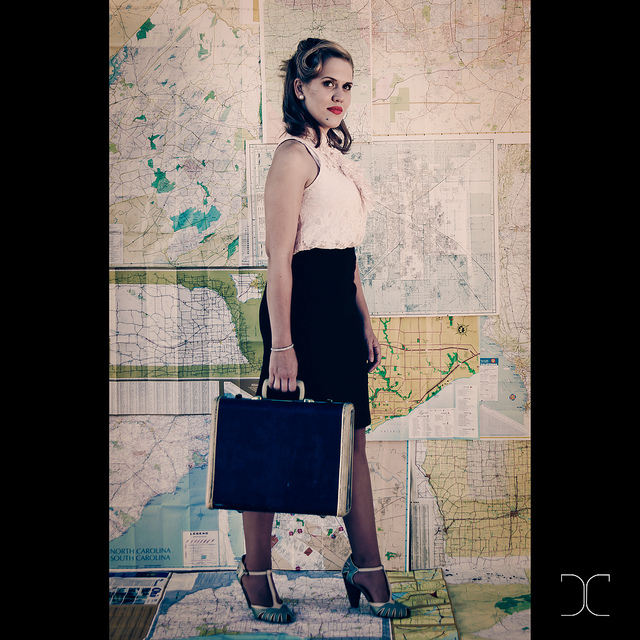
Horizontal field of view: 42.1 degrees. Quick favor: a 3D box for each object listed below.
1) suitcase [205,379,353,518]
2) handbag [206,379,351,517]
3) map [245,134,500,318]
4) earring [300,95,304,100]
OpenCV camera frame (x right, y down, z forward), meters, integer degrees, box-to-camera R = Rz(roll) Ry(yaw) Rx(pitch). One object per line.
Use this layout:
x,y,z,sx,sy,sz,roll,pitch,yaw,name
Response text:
-0.169,0.479,3.317,0.542,0.590,0.199,4,10,-3,suitcase
-0.168,0.528,3.339,0.527,0.576,0.203,4,-21,-2,handbag
0.251,-0.377,3.370,0.950,0.758,0.018,0,-6,-5,map
-0.074,-0.891,3.330,0.016,0.018,0.004,4,0,6,earring
